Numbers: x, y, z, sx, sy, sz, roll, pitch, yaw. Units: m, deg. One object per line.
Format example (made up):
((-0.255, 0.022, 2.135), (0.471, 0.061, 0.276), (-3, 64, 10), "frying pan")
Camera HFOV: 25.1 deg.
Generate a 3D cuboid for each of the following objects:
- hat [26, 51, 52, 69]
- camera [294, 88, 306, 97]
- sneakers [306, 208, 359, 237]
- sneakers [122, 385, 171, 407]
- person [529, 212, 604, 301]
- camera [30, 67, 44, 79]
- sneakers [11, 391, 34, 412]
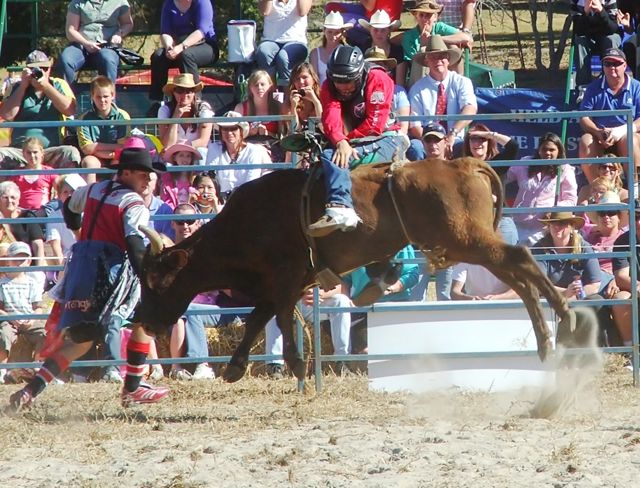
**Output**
((-3.392, -2.190, 17.256), (0.230, 0.184, 0.324), (0, -10, -16), "hat")
((-0.215, -1.616, 15.459), (0.102, 0.029, 0.098), (11, 34, -9), "camera")
((0.149, -0.196, 13.048), (0.572, 0.271, 0.188), (-10, -11, -1), "sneakers")
((-1.683, 1.433, 13.786), (0.486, 0.208, 0.178), (-7, 9, -4), "sneakers")
((2.492, 0.149, 14.836), (0.744, 0.982, 0.619), (-4, -2, 6), "person")
((-3.362, -2.011, 17.023), (0.101, 0.159, 0.151), (23, 16, 17), "camera")
((-2.821, 1.467, 13.564), (0.217, 0.074, 0.156), (-11, 26, 2), "sneakers")
